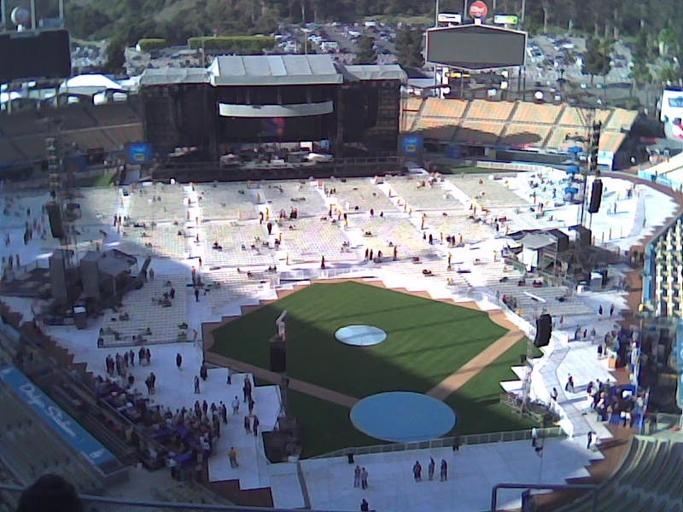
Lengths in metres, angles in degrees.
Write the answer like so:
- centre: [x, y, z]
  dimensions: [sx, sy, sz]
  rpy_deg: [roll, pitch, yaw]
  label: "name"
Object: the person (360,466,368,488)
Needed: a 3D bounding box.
- centre: [1.590, 15.366, 57.598]
  dimensions: [0.558, 1.024, 1.048]
  rpy_deg: [4, 22, 1]
  label: "person"
